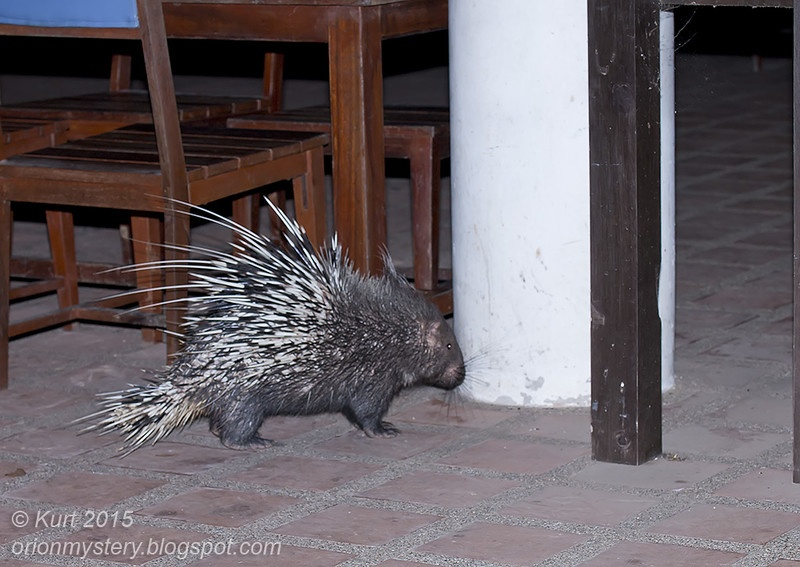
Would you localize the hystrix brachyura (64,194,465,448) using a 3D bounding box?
[{"bbox_3d":[-0.386,0.218,3.449,1.395,0.765,0.467,-6,-1,7],"label":"hystrix brachyura"}]
